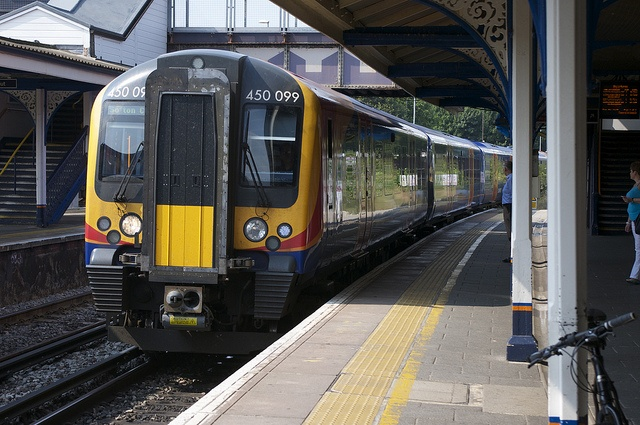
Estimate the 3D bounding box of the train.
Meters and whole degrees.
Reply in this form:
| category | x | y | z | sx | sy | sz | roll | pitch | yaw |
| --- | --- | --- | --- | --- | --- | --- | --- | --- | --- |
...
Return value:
| category | x | y | z | sx | sy | sz | roll | pitch | yaw |
| --- | --- | --- | --- | --- | --- | --- | --- | --- | --- |
| train | 1.132 | -0.298 | 15.056 | 3.344 | 4.418 | 16.339 | 0 | 0 | 24 |
